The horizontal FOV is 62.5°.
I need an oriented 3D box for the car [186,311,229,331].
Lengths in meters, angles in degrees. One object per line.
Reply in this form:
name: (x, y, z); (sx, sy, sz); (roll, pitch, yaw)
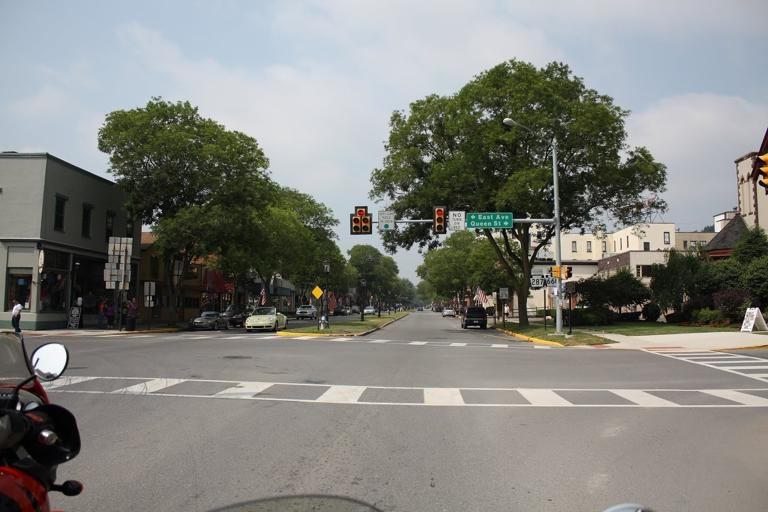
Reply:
car: (-12.955, 4.765, 46.944); (1.471, 1.374, 3.318); (-2, -6, 12)

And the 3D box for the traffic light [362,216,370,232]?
traffic light: (-0.952, -1.630, 32.931); (0.480, 0.949, 0.216); (-1, -4, -4)

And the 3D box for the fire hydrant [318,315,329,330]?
fire hydrant: (-3.923, 4.322, 41.109); (0.838, 0.984, 0.872); (0, -2, -2)

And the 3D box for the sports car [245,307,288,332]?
sports car: (-8.023, 4.280, 42.791); (2.235, 1.571, 2.745); (-1, -5, -2)

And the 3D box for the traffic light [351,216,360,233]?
traffic light: (-1.489, -1.640, 33.010); (0.523, 0.972, 0.225); (-1, -4, 1)

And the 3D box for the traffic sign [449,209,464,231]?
traffic sign: (4.143, -2.025, 36.022); (1.165, 1.112, 0.525); (2, -5, -30)

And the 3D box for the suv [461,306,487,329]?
suv: (7.467, 5.089, 52.315); (1.879, 1.811, 1.575); (-2, -5, 15)

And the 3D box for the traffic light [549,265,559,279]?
traffic light: (9.080, 0.849, 33.418); (0.615, 0.909, 0.598); (0, -3, 13)

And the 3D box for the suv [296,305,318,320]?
suv: (-9.342, 6.706, 76.468); (2.294, 1.590, 2.663); (-2, -5, 8)

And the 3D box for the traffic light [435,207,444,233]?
traffic light: (3.068, -1.949, 34.708); (0.578, 1.467, 0.977); (-2, -4, 9)

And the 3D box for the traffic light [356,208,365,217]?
traffic light: (-1.187, -2.269, 33.261); (0.398, 0.417, 0.099); (7, -1, 11)

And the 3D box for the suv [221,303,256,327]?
suv: (-12.874, 5.181, 55.197); (1.668, 1.256, 3.667); (-2, -9, 4)
